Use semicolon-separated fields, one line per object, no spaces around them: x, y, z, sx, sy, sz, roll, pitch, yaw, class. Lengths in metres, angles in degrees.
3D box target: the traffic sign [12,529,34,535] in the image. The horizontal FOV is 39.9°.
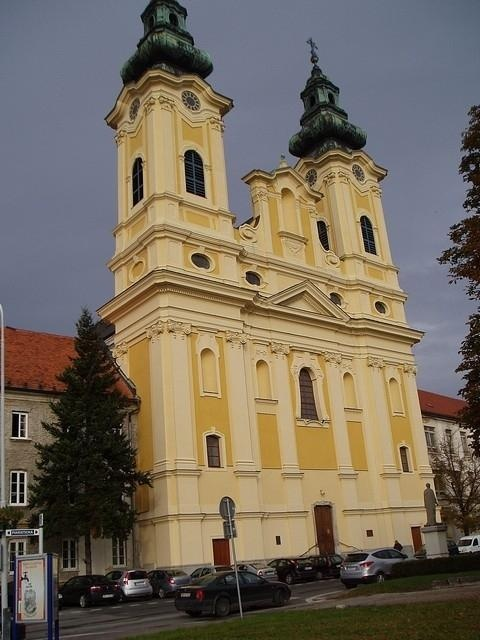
-3.937;3.816;11.884;0.252;0.093;0.573;-11;-20;12;traffic sign
